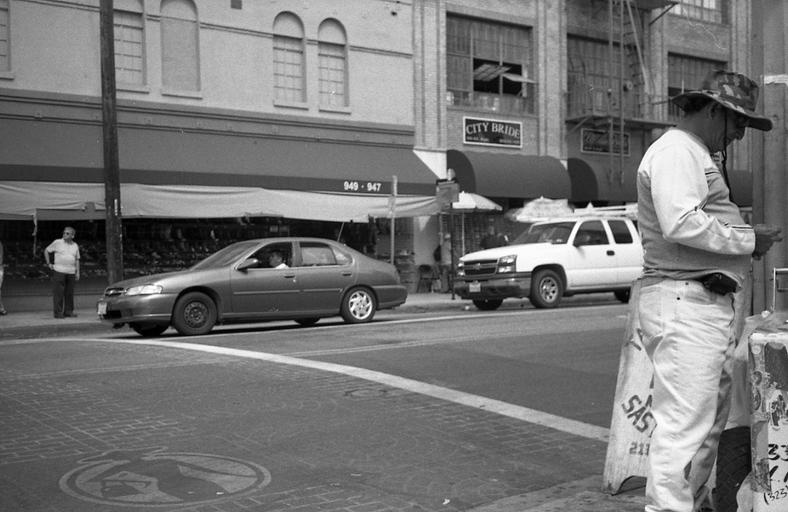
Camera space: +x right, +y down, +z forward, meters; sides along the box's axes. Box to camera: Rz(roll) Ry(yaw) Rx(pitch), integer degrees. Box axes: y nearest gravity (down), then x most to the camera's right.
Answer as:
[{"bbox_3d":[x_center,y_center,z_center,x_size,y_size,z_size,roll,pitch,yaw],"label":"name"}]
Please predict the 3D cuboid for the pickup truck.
[{"bbox_3d":[3.907,0.144,22.379,4.032,1.539,2.154,3,-6,-36],"label":"pickup truck"}]

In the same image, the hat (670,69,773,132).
[{"bbox_3d":[2.887,-1.416,8.527,0.629,0.268,0.616,23,-4,-22],"label":"hat"}]

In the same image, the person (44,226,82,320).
[{"bbox_3d":[-7.214,0.368,20.803,0.633,1.920,0.929,-2,11,-16],"label":"person"}]
